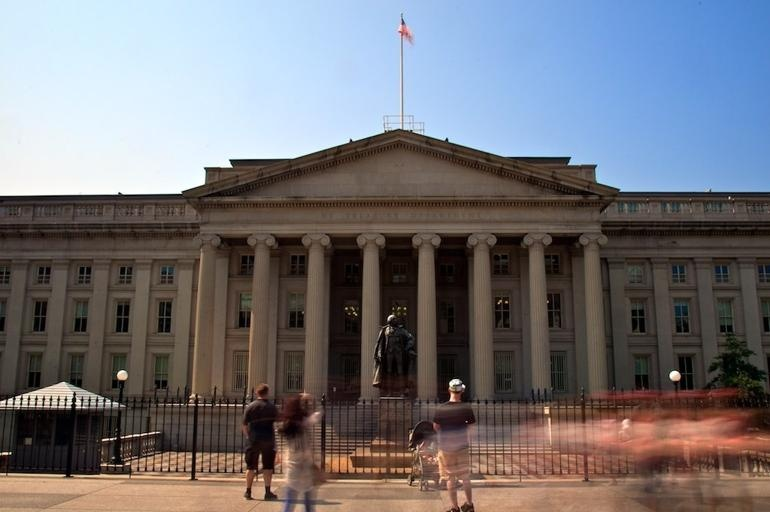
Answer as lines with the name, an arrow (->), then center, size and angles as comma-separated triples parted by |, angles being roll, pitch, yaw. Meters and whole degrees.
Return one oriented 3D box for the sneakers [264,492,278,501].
sneakers -> -3.404, 7.230, 18.089 | 0.412, 0.169, 0.171 | 3, -6, -18
